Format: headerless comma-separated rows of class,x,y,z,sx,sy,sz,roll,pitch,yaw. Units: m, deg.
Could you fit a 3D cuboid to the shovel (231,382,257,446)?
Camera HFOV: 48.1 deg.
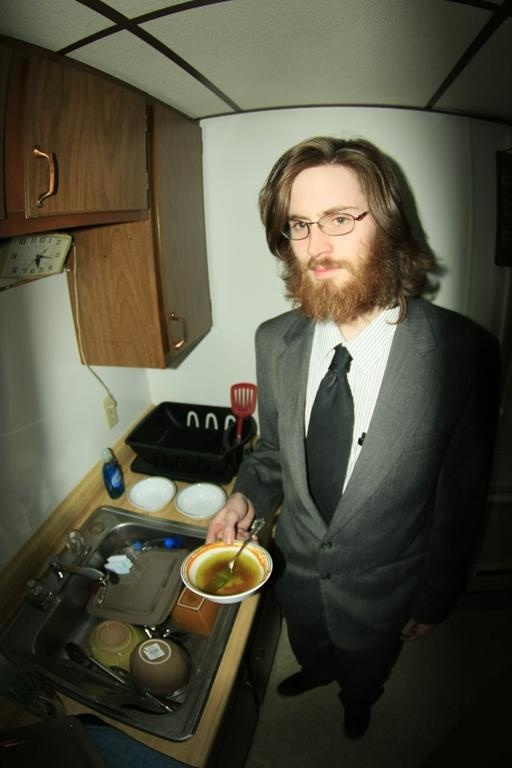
shovel,-0.046,0.099,1.874,0.064,0.033,0.200,1,54,7

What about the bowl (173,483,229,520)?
bowl,-0.157,0.324,1.585,0.089,0.025,0.091,-1,38,1

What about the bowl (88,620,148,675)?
bowl,-0.307,0.562,1.237,0.087,0.086,0.089,5,33,-3

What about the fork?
fork,-0.031,0.348,1.187,0.037,0.034,0.294,-3,19,21

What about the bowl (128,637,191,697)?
bowl,-0.214,0.553,1.189,0.091,0.094,0.085,-11,-18,-3

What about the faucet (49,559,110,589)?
faucet,-0.413,0.440,1.318,0.150,0.057,0.036,12,56,9

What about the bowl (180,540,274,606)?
bowl,-0.058,0.361,1.110,0.177,0.048,0.185,-2,21,1

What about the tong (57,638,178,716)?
tong,-0.271,0.589,1.141,0.148,0.040,0.041,31,25,19

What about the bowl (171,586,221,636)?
bowl,-0.133,0.495,1.277,0.095,0.095,0.099,-18,21,7

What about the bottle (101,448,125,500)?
bottle,-0.389,0.247,1.571,0.034,0.125,0.081,-3,11,20

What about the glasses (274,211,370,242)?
glasses,0.135,-0.302,1.110,0.158,0.055,0.054,5,18,20
